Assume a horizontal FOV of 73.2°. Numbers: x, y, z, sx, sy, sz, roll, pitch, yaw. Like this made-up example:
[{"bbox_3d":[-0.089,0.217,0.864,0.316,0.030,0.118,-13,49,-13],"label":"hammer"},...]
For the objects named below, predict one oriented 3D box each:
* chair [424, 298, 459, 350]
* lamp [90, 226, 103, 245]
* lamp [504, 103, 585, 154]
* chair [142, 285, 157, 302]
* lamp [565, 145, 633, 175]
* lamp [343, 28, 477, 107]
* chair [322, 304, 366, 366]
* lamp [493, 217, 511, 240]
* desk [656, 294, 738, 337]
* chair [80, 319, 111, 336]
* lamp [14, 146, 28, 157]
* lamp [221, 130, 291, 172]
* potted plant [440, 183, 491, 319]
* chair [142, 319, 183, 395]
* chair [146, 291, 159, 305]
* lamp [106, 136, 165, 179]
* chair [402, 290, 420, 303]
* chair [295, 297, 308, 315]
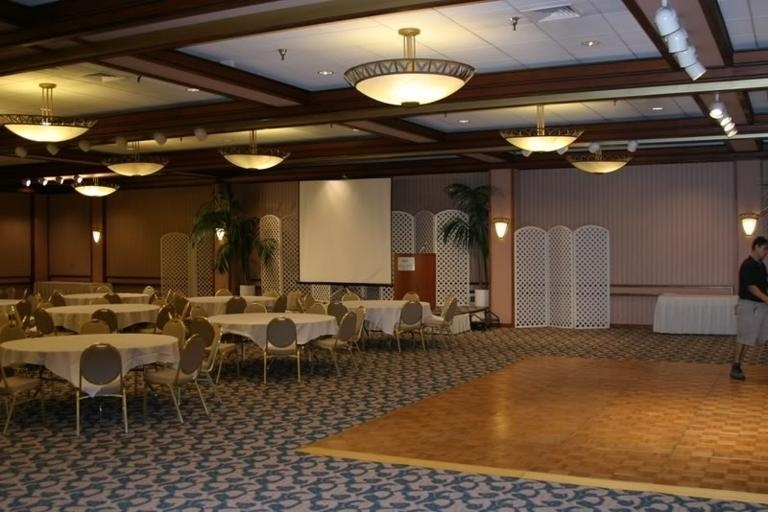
[{"bbox_3d":[1.074,1.264,10.303,0.632,0.803,0.581,3,11,31],"label":"chair"},{"bbox_3d":[-9.490,-0.650,17.137,0.335,0.535,0.608,-2,1,-28],"label":"lamp"},{"bbox_3d":[2.370,-1.905,7.778,1.284,0.564,1.147,2,15,17],"label":"lamp"},{"bbox_3d":[-5.361,0.882,11.842,0.396,0.407,0.391,2,-4,-23],"label":"chair"},{"bbox_3d":[4.059,-1.853,10.170,1.116,0.425,1.142,-3,-5,43],"label":"lamp"},{"bbox_3d":[0.224,-1.783,4.882,1.140,0.497,1.056,2,-4,-34],"label":"lamp"},{"bbox_3d":[-0.698,1.277,8.237,0.595,0.850,0.612,19,24,11],"label":"chair"},{"bbox_3d":[2.736,-0.657,12.706,0.597,0.479,0.543,2,-2,-2],"label":"lamp"},{"bbox_3d":[6.786,1.295,11.249,1.469,0.546,0.859,0,-1,27],"label":"desk"},{"bbox_3d":[-3.824,0.956,6.851,0.316,0.168,0.187,-1,0,-20],"label":"chair"},{"bbox_3d":[-7.358,-2.116,10.539,0.232,0.144,0.216,-9,12,-37],"label":"lamp"},{"bbox_3d":[-2.251,-1.840,9.014,1.323,0.661,1.168,1,4,-6],"label":"lamp"},{"bbox_3d":[2.160,-0.494,13.141,1.171,2.654,0.707,-1,1,9],"label":"potted plant"},{"bbox_3d":[-2.880,1.213,6.538,0.682,0.747,0.592,-4,2,-32],"label":"chair"},{"bbox_3d":[-4.740,0.893,10.664,0.359,0.257,0.313,2,-7,-6],"label":"chair"},{"bbox_3d":[-4.949,-1.850,10.351,1.207,0.565,1.135,-3,-6,-35],"label":"lamp"},{"bbox_3d":[0.590,0.863,10.932,0.254,0.328,0.241,1,-7,11],"label":"chair"},{"bbox_3d":[-1.590,0.985,10.095,0.309,0.307,0.290,1,-8,-10],"label":"chair"}]
